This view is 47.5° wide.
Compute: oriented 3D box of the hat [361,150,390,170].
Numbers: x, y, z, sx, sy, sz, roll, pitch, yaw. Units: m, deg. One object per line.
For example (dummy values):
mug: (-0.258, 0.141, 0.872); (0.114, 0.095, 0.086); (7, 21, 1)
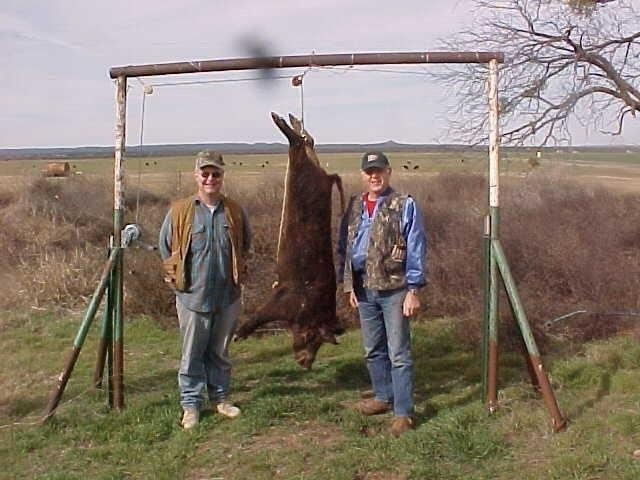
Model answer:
hat: (0.641, -0.941, 8.535); (0.299, 0.230, 0.225); (-1, 4, 9)

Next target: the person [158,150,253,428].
person: (-1.364, 0.564, 8.860); (1.090, 3.223, 0.766); (-3, 8, -21)

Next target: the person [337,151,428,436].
person: (0.739, 0.566, 8.629); (1.079, 3.217, 0.476); (2, 5, 43)

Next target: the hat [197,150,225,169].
hat: (-1.305, -0.961, 8.593); (0.317, 0.227, 0.199); (-2, 4, -11)

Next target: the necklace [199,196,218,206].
necklace: (-1.324, -0.466, 8.681); (0.123, 0.095, 0.125); (4, 3, 38)

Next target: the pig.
pig: (-0.256, 0.059, 9.968); (1.232, 3.493, 1.614); (-2, 15, -25)
